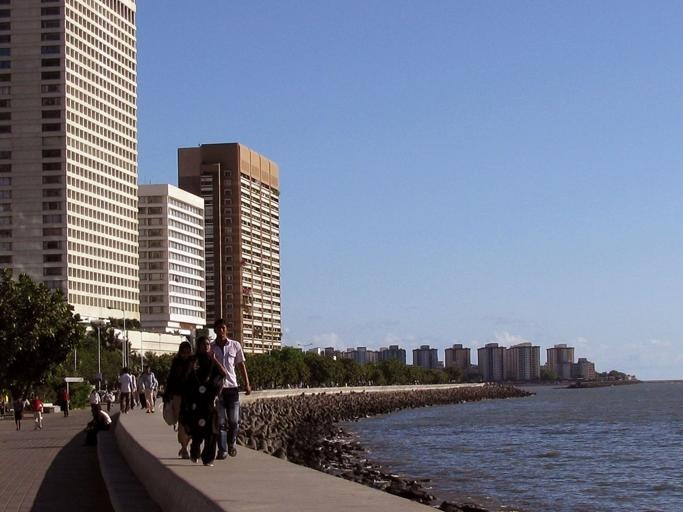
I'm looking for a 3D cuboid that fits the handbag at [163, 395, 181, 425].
[{"bbox_3d":[-3.522,3.239,15.874,0.195,0.560,0.390,0,18,-17],"label":"handbag"}]

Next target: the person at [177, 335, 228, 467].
[{"bbox_3d":[-2.870,2.933,15.731,0.782,2.613,0.633,-10,-15,38],"label":"person"}]
